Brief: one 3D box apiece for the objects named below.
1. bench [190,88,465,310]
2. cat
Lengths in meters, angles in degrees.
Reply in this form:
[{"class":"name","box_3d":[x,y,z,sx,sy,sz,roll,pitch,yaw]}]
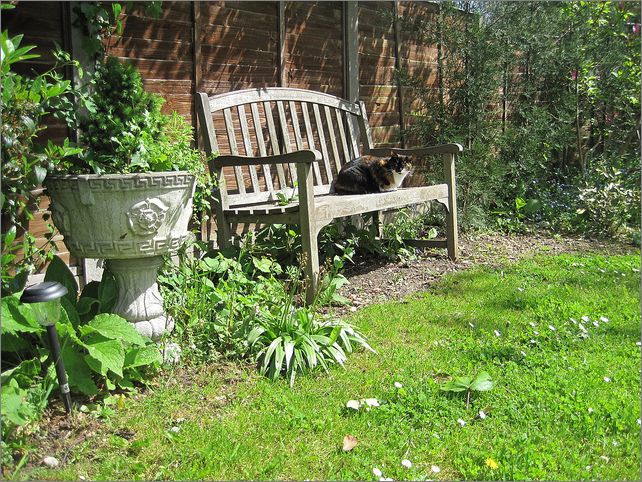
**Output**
[{"class":"bench","box_3d":[0.042,-0.333,4.418,0.813,1.417,1.914,3,8,37]},{"class":"cat","box_3d":[0.495,-0.623,4.852,0.640,0.352,0.392,-13,28,-23]}]
